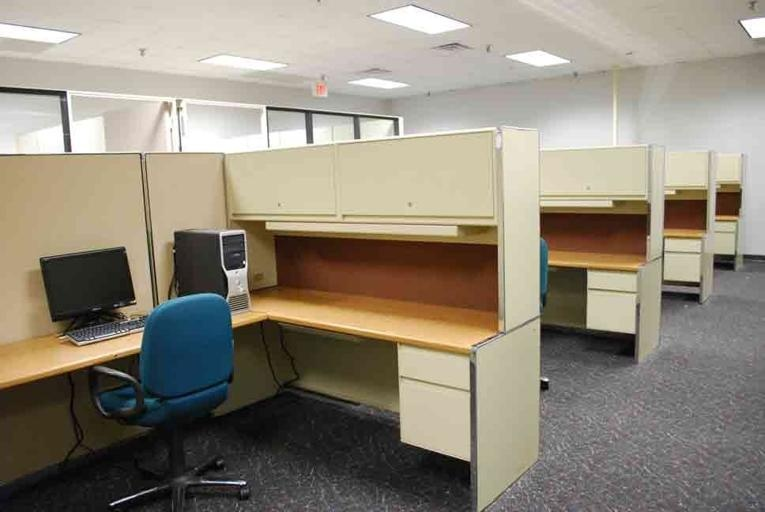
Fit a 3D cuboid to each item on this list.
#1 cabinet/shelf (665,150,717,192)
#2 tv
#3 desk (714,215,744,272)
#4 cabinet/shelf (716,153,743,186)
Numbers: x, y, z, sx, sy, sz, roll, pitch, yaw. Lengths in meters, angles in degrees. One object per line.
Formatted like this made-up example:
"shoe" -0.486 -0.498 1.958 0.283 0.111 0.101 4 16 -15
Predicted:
"cabinet/shelf" 3.843 -1.071 6.957 0.611 0.602 0.641 2 4 37
"tv" -2.090 0.240 3.836 0.572 0.536 0.309 -8 6 -37
"desk" 5.374 -0.218 8.509 0.340 0.851 0.655 4 11 37
"cabinet/shelf" 5.061 -1.284 7.998 0.359 0.472 0.484 -3 4 -43
